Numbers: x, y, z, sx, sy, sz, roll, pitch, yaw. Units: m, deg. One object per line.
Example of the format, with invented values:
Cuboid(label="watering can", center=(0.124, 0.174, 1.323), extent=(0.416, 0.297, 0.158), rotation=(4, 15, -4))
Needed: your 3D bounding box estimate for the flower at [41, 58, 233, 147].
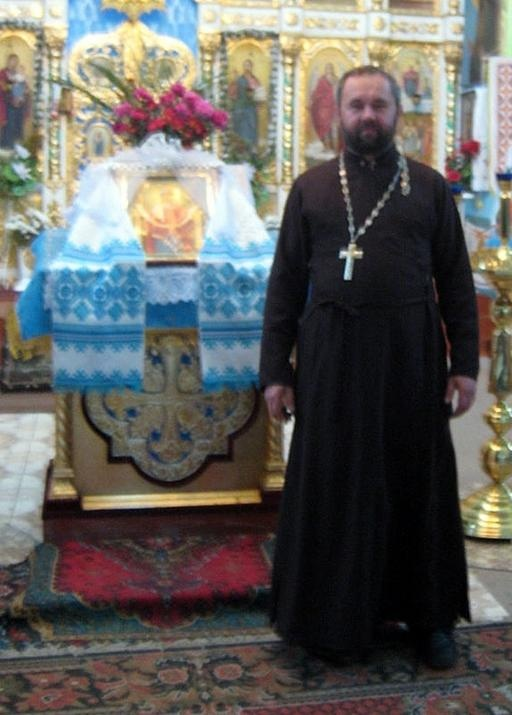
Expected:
Cuboid(label="flower", center=(-0.331, -0.865, 3.284), extent=(0.463, 0.268, 0.208), rotation=(1, 14, 1))

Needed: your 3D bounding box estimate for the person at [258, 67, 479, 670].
Cuboid(label="person", center=(0.292, 0.023, 2.407), extent=(0.564, 1.469, 0.515), rotation=(1, 14, 0))
